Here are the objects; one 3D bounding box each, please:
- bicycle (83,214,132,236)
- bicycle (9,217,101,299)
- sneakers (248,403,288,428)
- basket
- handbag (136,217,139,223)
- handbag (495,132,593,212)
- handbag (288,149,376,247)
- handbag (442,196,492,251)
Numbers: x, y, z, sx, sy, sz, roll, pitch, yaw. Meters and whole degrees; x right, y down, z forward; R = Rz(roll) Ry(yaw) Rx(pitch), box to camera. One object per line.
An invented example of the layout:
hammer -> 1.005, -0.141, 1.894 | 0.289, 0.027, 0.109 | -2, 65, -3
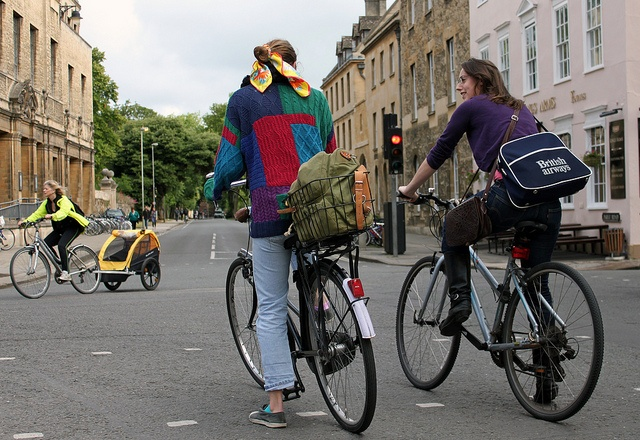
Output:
bicycle -> -10.689, 0.272, 34.699 | 0.726, 0.923, 1.891 | -16, 0, 44
bicycle -> -5.040, 0.761, 13.211 | 1.544, 1.448, 0.933 | -3, 0, -24
sneakers -> -0.423, 1.604, 5.702 | 0.298, 0.144, 0.138 | 6, -2, 41
basket -> 0.068, -0.086, 5.523 | 0.455, 0.428, 0.632 | -18, 3, -15
handbag -> -13.168, 0.013, 50.073 | 0.339, 0.433, 0.695 | 1, 9, -13
handbag -> 1.819, -0.408, 5.635 | 0.697, 0.600, 0.266 | -3, 0, -3
handbag -> 0.025, -0.141, 5.680 | 0.653, 0.701, 0.709 | -12, -1, -7
handbag -> 1.237, 0.029, 5.891 | 0.160, 0.423, 0.450 | 3, -13, -34
